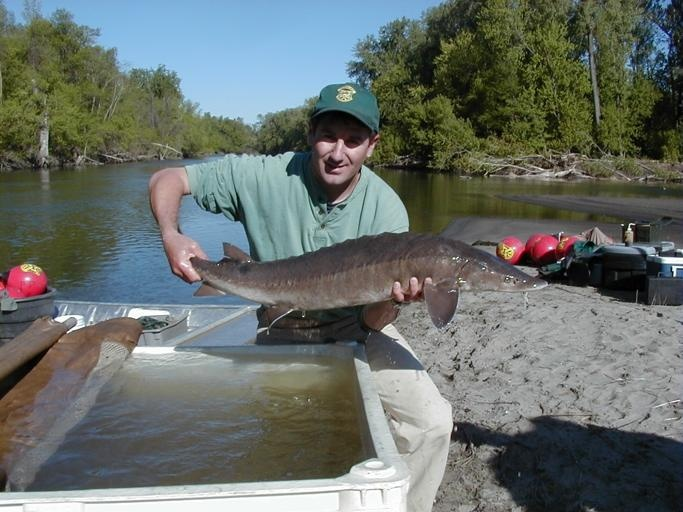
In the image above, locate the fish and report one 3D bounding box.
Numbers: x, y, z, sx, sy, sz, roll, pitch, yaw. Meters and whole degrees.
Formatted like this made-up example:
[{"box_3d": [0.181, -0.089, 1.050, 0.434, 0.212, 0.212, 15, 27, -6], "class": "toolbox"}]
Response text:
[{"box_3d": [0.140, 0.119, 3.089, 2.127, 0.485, 0.489, 1, 13, 25], "class": "fish"}]
